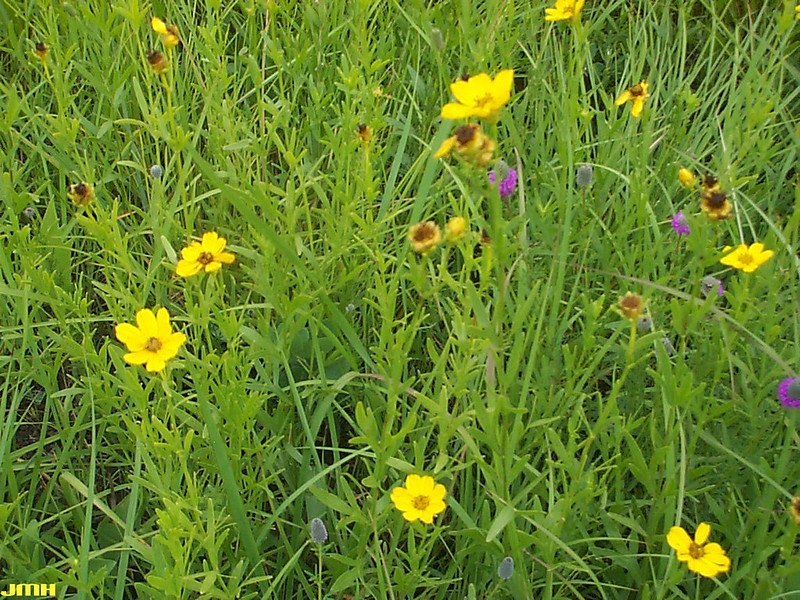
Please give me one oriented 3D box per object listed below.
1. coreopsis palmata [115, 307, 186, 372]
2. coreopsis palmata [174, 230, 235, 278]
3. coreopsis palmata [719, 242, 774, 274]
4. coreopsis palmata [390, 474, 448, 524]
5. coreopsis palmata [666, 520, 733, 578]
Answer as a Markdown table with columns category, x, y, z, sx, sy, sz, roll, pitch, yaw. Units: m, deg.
| category | x | y | z | sx | sy | sz | roll | pitch | yaw |
| --- | --- | --- | --- | --- | --- | --- | --- | --- | --- |
| coreopsis palmata | -0.620 | 0.108 | 1.663 | 0.145 | 0.060 | 0.189 | -16 | 62 | -40 |
| coreopsis palmata | -0.548 | -0.112 | 1.873 | 0.090 | 0.119 | 0.037 | 1 | 34 | -7 |
| coreopsis palmata | 1.006 | -0.093 | 1.919 | 0.105 | 0.048 | 0.120 | -4 | 48 | 25 |
| coreopsis palmata | 0.046 | 0.495 | 1.663 | 0.116 | 0.085 | 0.125 | -30 | 53 | -29 |
| coreopsis palmata | 0.744 | 0.627 | 1.655 | 0.135 | 0.042 | 0.131 | 29 | 46 | 20 |
